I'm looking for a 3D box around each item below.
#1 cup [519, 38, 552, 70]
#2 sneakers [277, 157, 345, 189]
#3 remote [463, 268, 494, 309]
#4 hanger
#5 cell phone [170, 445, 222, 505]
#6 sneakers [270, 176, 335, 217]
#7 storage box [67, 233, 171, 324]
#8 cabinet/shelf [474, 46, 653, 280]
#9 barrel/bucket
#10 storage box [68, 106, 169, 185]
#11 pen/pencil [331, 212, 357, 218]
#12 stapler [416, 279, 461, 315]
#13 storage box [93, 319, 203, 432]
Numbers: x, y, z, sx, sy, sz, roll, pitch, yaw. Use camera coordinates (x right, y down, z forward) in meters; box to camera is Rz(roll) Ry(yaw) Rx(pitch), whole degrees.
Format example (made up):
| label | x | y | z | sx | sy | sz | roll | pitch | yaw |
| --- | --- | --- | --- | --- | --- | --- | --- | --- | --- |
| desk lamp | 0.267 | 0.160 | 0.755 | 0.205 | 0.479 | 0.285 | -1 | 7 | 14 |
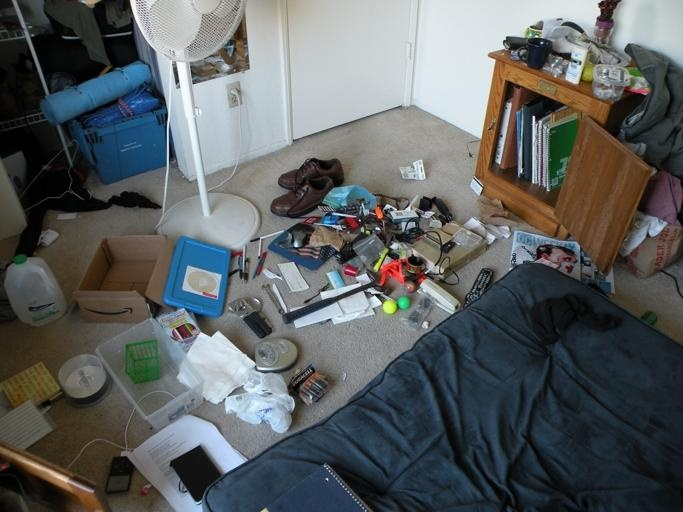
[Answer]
| label | x | y | z | sx | sy | sz | roll | pitch | yaw |
| --- | --- | --- | --- | --- | --- | --- | --- | --- | --- |
| cup | 0.963 | -1.028 | 2.679 | 0.157 | 0.139 | 0.135 | -4 | 54 | 1 |
| sneakers | -0.169 | -0.500 | 3.109 | 0.436 | 0.177 | 0.163 | 4 | 10 | 23 |
| remote | 0.678 | 0.141 | 2.561 | 0.106 | 0.058 | 0.254 | 33 | 61 | 17 |
| hanger | -1.665 | -0.459 | 3.023 | 0.425 | 0.147 | 0.476 | 0 | 60 | -18 |
| cell phone | -0.544 | 0.822 | 1.967 | 0.134 | 0.042 | 0.184 | -28 | 58 | -34 |
| sneakers | -0.224 | -0.312 | 2.979 | 0.372 | 0.145 | 0.190 | -24 | 57 | 1 |
| storage box | -1.034 | 0.105 | 2.470 | 0.415 | 0.231 | 0.376 | 0 | 42 | 0 |
| cabinet/shelf | 1.218 | -0.574 | 2.817 | 0.496 | 0.877 | 1.035 | -18 | 43 | -14 |
| barrel/bucket | -1.394 | 0.163 | 2.353 | 0.194 | 0.306 | 0.115 | -18 | 44 | -20 |
| storage box | -1.265 | -0.663 | 3.186 | 0.533 | 0.394 | 0.450 | -27 | 48 | -22 |
| pen/pencil | 0.016 | -0.225 | 2.843 | 0.104 | 0.020 | 0.018 | 9 | 8 | 7 |
| stapler | 0.465 | 0.195 | 2.499 | 0.185 | 0.061 | 0.115 | 31 | 75 | 17 |
| storage box | -0.774 | 0.496 | 2.155 | 0.259 | 0.161 | 0.409 | -30 | 52 | -32 |
